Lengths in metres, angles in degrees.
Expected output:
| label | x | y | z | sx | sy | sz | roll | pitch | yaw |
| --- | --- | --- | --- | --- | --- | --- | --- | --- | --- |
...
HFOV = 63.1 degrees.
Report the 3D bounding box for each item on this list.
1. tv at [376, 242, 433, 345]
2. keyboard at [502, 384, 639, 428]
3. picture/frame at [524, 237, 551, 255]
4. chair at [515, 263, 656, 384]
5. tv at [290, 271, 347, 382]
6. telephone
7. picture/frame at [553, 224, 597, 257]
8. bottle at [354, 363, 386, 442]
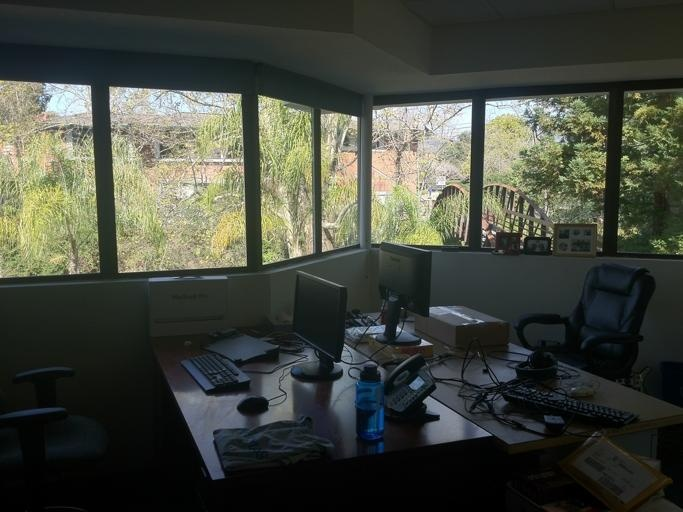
| label | x | y | z | sx | sy | sz | roll | pitch | yaw |
| --- | --- | --- | --- | --- | --- | --- | --- | --- | --- |
| tv | 0.421 | 0.272 | 3.706 | 0.317 | 0.620 | 0.573 | -6 | 13 | -26 |
| keyboard | 1.176 | 0.791 | 2.876 | 0.634 | 0.068 | 0.212 | 9 | 12 | 30 |
| picture/frame | 1.882 | -0.092 | 5.325 | 0.246 | 0.171 | 0.068 | 5 | 11 | 16 |
| chair | 1.779 | 0.605 | 4.162 | 0.896 | 1.036 | 0.760 | -2 | 7 | -20 |
| tv | -0.139 | 0.452 | 3.320 | 0.257 | 0.439 | 0.577 | 0 | 5 | -20 |
| telephone | 0.320 | 0.678 | 2.927 | 0.283 | 0.306 | 0.314 | 1 | 7 | -13 |
| picture/frame | 2.224 | -0.140 | 5.239 | 0.303 | 0.265 | 0.031 | 2 | 0 | 8 |
| bottle | 0.148 | 0.703 | 2.746 | 0.139 | 0.316 | 0.291 | 3 | 10 | 4 |
